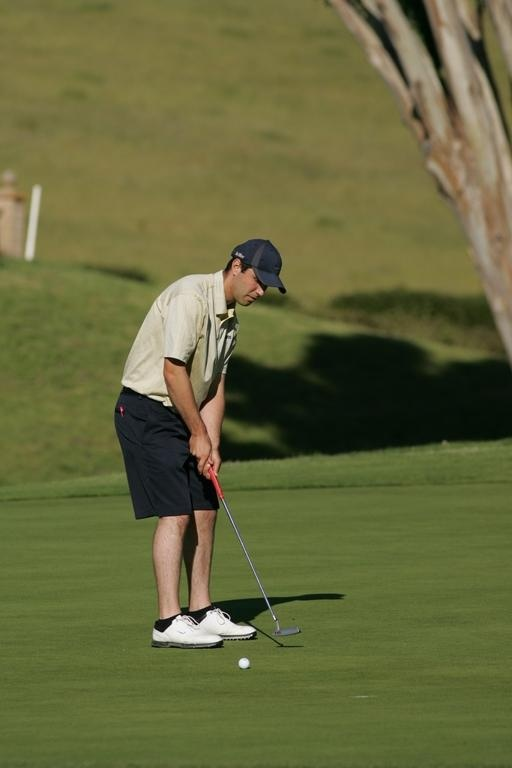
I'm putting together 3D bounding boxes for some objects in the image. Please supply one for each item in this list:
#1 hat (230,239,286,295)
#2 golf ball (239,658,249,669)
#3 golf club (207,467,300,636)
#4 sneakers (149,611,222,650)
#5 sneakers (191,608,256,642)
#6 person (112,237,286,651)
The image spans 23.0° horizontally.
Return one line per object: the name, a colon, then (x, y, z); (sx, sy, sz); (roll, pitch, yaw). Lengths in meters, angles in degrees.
hat: (0.007, -0.412, 4.425); (0.177, 0.184, 0.260); (-2, 7, -1)
golf ball: (-0.039, 0.836, 3.811); (0.029, 0.029, 0.028); (11, 39, -9)
golf club: (0.007, 0.753, 4.726); (0.159, 1.020, 0.080); (-35, 44, -22)
sneakers: (-0.239, 0.811, 4.167); (0.211, 0.087, 0.109); (3, -2, -3)
sneakers: (-0.116, 0.833, 4.394); (0.259, 0.107, 0.094); (7, -4, 13)
person: (-0.169, 0.191, 4.428); (0.624, 1.377, 0.654); (-4, 8, -19)
